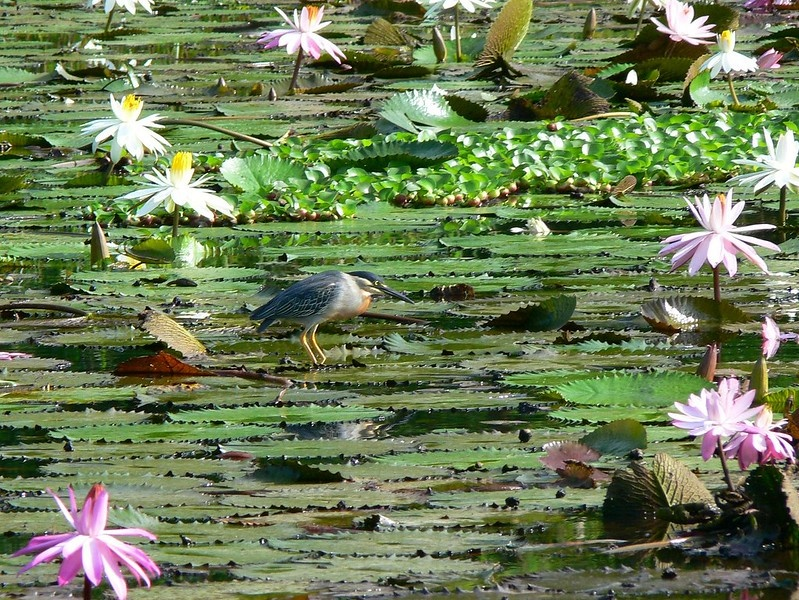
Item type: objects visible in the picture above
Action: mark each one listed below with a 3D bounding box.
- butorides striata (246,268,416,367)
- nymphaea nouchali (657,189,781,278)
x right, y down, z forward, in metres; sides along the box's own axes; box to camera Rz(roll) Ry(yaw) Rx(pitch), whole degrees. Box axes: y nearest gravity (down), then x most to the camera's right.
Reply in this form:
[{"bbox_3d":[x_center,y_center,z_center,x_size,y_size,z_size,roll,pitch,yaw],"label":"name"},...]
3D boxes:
[{"bbox_3d":[-0.243,0.042,3.818,0.298,0.269,0.382,6,9,35],"label":"butorides striata"},{"bbox_3d":[0.905,-0.193,3.513,0.301,0.251,0.374,2,7,10],"label":"nymphaea nouchali"}]
